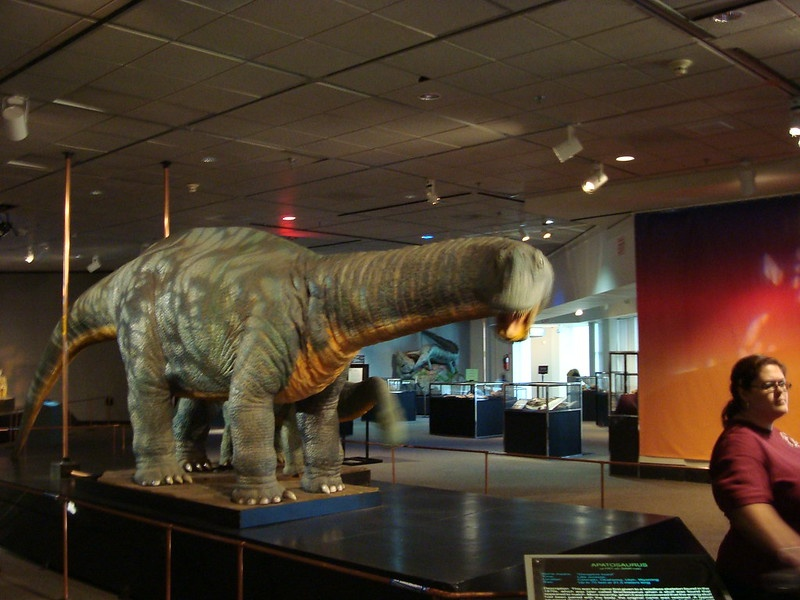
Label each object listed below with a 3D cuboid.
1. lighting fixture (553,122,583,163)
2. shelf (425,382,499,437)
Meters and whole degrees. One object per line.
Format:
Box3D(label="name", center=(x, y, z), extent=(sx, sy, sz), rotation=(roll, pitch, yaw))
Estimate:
Box3D(label="lighting fixture", center=(1.880, -1.746, 7.316), extent=(0.274, 0.327, 0.357), rotation=(2, -13, 9))
Box3D(label="shelf", center=(1.465, 2.583, 15.677), extent=(1.843, 1.016, 1.642), rotation=(3, -6, -30))
